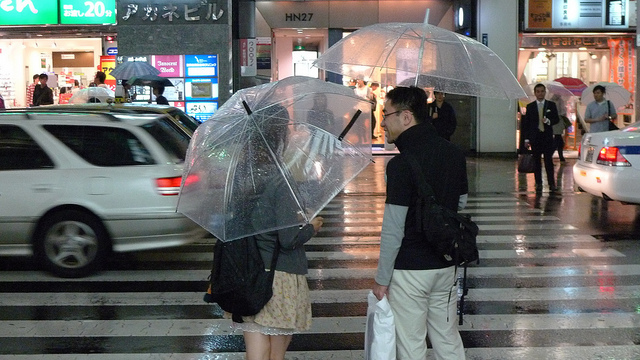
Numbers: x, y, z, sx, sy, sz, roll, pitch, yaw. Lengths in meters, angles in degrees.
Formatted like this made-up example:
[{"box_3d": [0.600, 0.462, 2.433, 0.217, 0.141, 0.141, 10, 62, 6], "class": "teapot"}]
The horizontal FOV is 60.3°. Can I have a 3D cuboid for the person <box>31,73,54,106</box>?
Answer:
[{"box_3d": [-9.154, -3.004, 18.241, 0.556, 1.018, 1.138, -7, 12, -27], "class": "person"}]

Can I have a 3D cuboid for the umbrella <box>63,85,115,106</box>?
[{"box_3d": [-7.089, -2.594, 16.794, 1.001, 0.314, 0.946, -10, 11, 14], "class": "umbrella"}]

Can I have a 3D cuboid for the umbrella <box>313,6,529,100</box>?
[{"box_3d": [1.300, -1.530, 7.099, 1.791, 0.770, 1.763, -7, 20, -45], "class": "umbrella"}]

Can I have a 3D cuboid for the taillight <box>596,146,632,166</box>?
[{"box_3d": [5.805, -0.462, 10.928, 0.158, 0.368, 0.623, -6, 12, -23], "class": "taillight"}]

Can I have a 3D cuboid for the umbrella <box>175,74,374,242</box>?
[{"box_3d": [-0.569, -0.416, 6.192, 2.270, 0.985, 2.135, -9, 40, 14], "class": "umbrella"}]

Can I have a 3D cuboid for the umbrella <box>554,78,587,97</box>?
[{"box_3d": [9.722, -3.687, 21.390, 1.187, 0.431, 1.119, 1, 7, -21], "class": "umbrella"}]

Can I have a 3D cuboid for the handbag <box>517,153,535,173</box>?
[{"box_3d": [5.281, -0.442, 14.159, 0.393, 0.491, 0.379, 3, 12, 19], "class": "handbag"}]

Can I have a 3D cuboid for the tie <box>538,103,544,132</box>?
[{"box_3d": [5.654, -1.611, 14.206, 0.174, 0.689, 0.145, -12, 15, -43], "class": "tie"}]
